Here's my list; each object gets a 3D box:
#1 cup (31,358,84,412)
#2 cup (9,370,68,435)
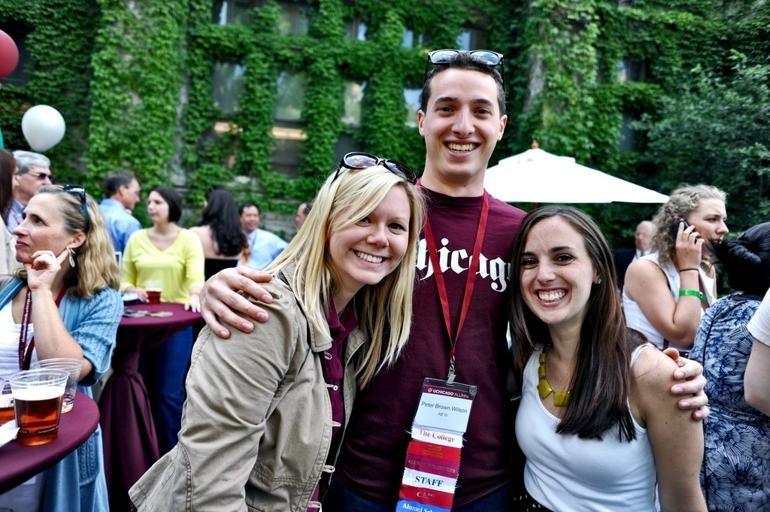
[{"bbox_3d":[-2.783,1.108,6.948,0.436,0.440,0.444,0,-3,0],"label":"cup"},{"bbox_3d":[-3.009,1.227,6.852,0.491,0.552,0.511,7,7,-1],"label":"cup"}]
